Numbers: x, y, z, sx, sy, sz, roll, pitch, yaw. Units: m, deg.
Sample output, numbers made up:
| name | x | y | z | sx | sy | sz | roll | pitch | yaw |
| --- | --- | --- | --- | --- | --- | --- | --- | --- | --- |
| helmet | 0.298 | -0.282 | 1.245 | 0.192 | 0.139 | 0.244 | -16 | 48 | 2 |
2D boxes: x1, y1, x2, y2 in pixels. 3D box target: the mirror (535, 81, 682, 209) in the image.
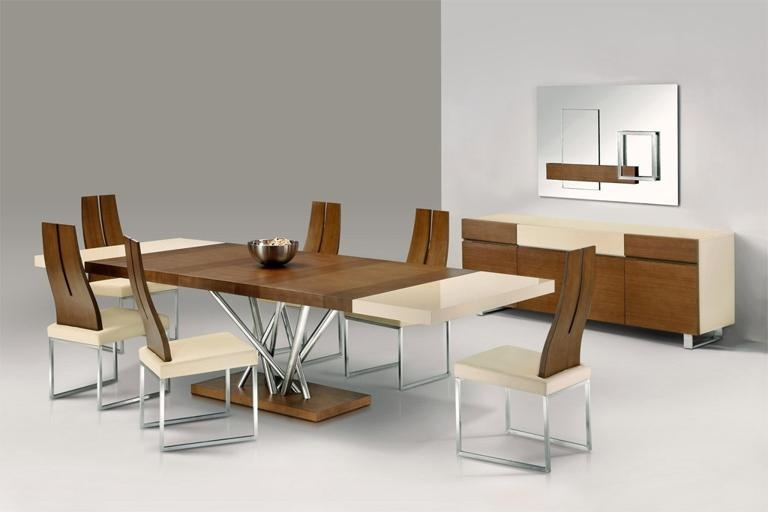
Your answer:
| name | x | y | z | sx | sy | sz | roll | pitch | yaw |
| --- | --- | --- | --- | --- | --- | --- | --- | --- | --- |
| mirror | 2.399 | -1.168 | 6.598 | 1.549 | 1.104 | 0.156 | 4 | 8 | 39 |

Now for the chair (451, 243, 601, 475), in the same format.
| name | x | y | z | sx | sy | sz | roll | pitch | yaw |
| --- | --- | --- | --- | --- | --- | --- | --- | --- | --- |
| chair | 0.891 | 0.622 | 3.952 | 0.737 | 1.197 | 0.675 | -1 | 1 | 40 |

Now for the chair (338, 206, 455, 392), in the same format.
| name | x | y | z | sx | sy | sz | roll | pitch | yaw |
| --- | --- | --- | --- | --- | --- | --- | --- | --- | --- |
| chair | 0.130 | 0.323 | 5.233 | 0.756 | 1.319 | 0.850 | 4 | 10 | 40 |

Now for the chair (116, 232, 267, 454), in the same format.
| name | x | y | z | sx | sy | sz | roll | pitch | yaw |
| --- | --- | --- | --- | --- | --- | --- | --- | --- | --- |
| chair | -1.280 | 0.588 | 4.252 | 0.794 | 1.197 | 0.653 | 1 | 2 | -35 |

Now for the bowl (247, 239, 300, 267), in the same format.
| name | x | y | z | sx | sy | sz | roll | pitch | yaw |
| --- | --- | --- | --- | --- | --- | --- | --- | --- | --- |
| bowl | -0.848 | -0.030 | 4.672 | 0.271 | 0.112 | 0.269 | -1 | 2 | 0 |

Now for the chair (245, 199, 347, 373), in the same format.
| name | x | y | z | sx | sy | sz | roll | pitch | yaw |
| --- | --- | --- | --- | --- | --- | --- | --- | --- | --- |
| chair | -0.967 | 0.198 | 5.950 | 1.023 | 1.449 | 0.929 | -8 | 4 | -37 |

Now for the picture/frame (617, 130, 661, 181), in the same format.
| name | x | y | z | sx | sy | sz | roll | pitch | yaw |
| --- | --- | --- | --- | --- | --- | --- | --- | --- | --- |
| picture/frame | 2.607 | -1.026 | 6.423 | 0.561 | 0.653 | 0.072 | 4 | 7 | 40 |
